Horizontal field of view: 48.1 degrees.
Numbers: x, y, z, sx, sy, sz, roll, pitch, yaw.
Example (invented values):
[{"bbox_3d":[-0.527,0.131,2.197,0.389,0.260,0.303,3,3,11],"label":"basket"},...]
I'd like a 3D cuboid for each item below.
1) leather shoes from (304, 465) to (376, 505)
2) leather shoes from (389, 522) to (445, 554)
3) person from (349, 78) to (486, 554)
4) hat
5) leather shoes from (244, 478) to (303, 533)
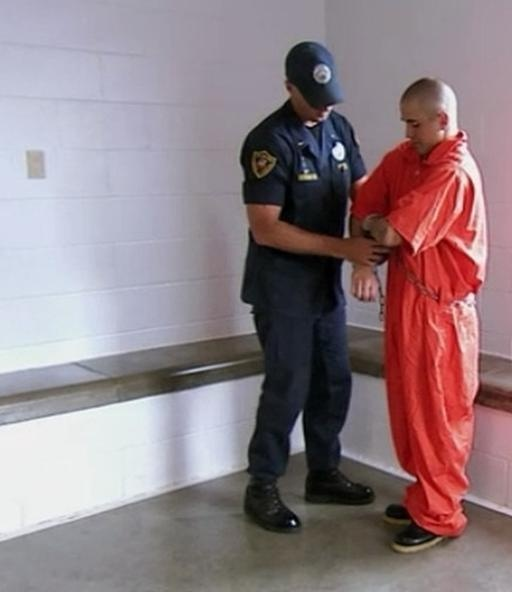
[{"bbox_3d":[0.324,0.759,2.317,0.311,0.158,0.114,-2,-2,8],"label":"leather shoes"},{"bbox_3d":[0.519,0.778,1.860,0.188,0.065,0.063,4,-5,-30],"label":"leather shoes"},{"bbox_3d":[0.492,0.091,1.835,0.411,1.485,0.326,5,14,24],"label":"person"},{"bbox_3d":[0.180,-0.707,1.819,0.167,0.231,0.193,-1,11,0],"label":"hat"},{"bbox_3d":[0.045,0.758,2.069,0.103,0.138,0.252,3,-4,-40],"label":"leather shoes"}]
